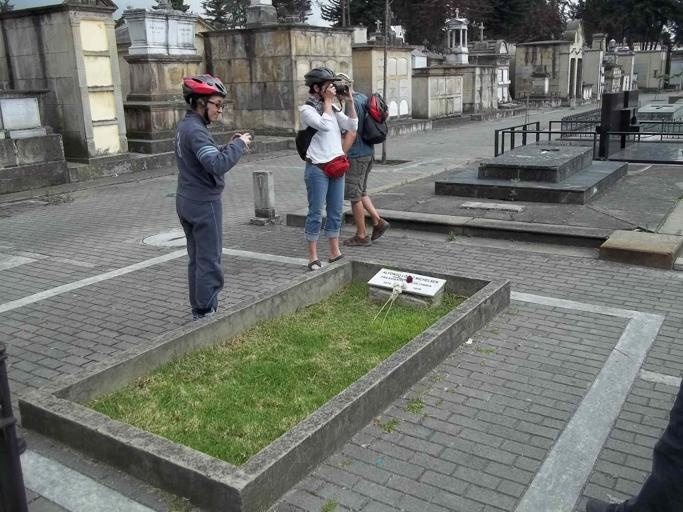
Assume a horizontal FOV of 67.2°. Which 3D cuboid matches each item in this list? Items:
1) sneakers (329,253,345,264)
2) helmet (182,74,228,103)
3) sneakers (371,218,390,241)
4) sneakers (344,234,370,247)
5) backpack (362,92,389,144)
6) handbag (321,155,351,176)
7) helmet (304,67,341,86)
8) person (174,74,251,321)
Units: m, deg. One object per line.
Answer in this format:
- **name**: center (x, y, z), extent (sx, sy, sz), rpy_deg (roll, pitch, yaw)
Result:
- **sneakers**: center (-0.071, 0.049, 6.354), extent (0.223, 0.074, 0.079), rpy_deg (-12, 12, 11)
- **helmet**: center (-1.281, -1.532, 4.676), extent (0.322, 0.164, 0.248), rpy_deg (11, 19, 17)
- **sneakers**: center (0.586, -0.382, 7.602), extent (0.192, 0.451, 0.154), rpy_deg (15, 49, -11)
- **sneakers**: center (0.230, -0.203, 7.493), extent (0.380, 0.177, 0.153), rpy_deg (2, 8, 7)
- **backpack**: center (0.452, -1.844, 6.976), extent (0.322, 0.691, 0.507), rpy_deg (0, 15, 9)
- **handbag**: center (-0.071, -1.049, 6.130), extent (0.318, 0.255, 0.132), rpy_deg (-12, 18, -32)
- **helmet**: center (-0.252, -2.104, 6.029), extent (0.339, 0.147, 0.230), rpy_deg (3, 23, 13)
- **person**: center (-1.200, -0.496, 4.810), extent (0.656, 2.277, 0.570), rpy_deg (-7, 16, -17)
